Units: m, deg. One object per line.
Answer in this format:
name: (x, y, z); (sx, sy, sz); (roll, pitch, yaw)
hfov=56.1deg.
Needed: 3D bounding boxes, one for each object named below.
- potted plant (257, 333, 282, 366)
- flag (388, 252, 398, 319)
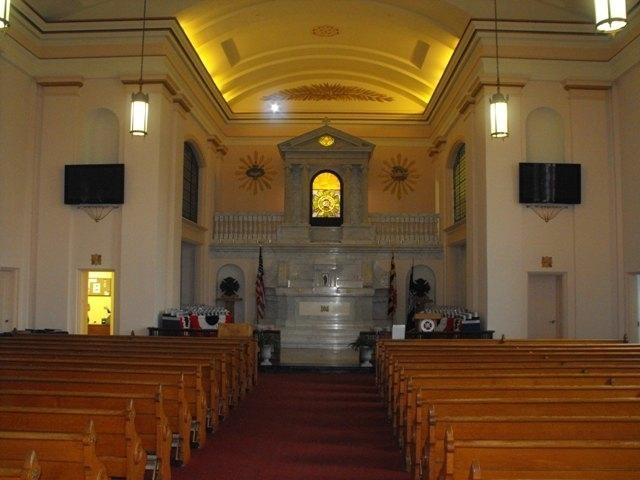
potted plant: (-1.236, 2.536, 14.298); (0.522, 0.833, 0.970); (-5, 4, -6)
flag: (2.269, 1.512, 19.073); (0.376, 2.067, 1.163); (-4, 4, 7)
